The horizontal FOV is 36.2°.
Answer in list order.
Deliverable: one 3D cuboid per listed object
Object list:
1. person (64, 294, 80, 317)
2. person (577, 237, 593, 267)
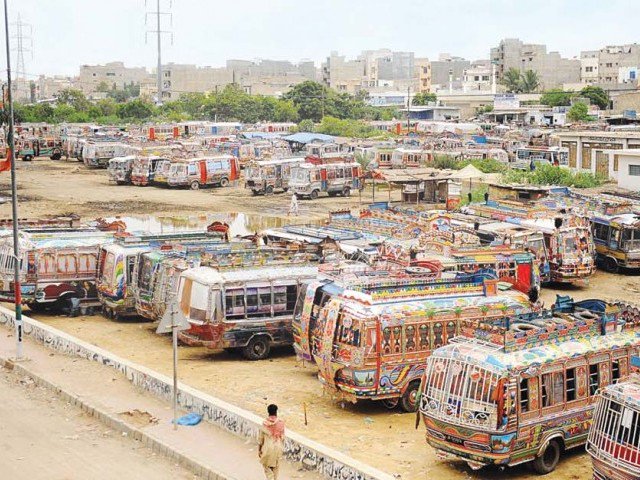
[{"bbox_3d":[-7.619,2.006,29.981,0.563,0.735,0.424,9,16,33],"label":"person"},{"bbox_3d":[8.955,0.428,32.912,0.344,0.886,0.736,-16,-15,42],"label":"person"}]
